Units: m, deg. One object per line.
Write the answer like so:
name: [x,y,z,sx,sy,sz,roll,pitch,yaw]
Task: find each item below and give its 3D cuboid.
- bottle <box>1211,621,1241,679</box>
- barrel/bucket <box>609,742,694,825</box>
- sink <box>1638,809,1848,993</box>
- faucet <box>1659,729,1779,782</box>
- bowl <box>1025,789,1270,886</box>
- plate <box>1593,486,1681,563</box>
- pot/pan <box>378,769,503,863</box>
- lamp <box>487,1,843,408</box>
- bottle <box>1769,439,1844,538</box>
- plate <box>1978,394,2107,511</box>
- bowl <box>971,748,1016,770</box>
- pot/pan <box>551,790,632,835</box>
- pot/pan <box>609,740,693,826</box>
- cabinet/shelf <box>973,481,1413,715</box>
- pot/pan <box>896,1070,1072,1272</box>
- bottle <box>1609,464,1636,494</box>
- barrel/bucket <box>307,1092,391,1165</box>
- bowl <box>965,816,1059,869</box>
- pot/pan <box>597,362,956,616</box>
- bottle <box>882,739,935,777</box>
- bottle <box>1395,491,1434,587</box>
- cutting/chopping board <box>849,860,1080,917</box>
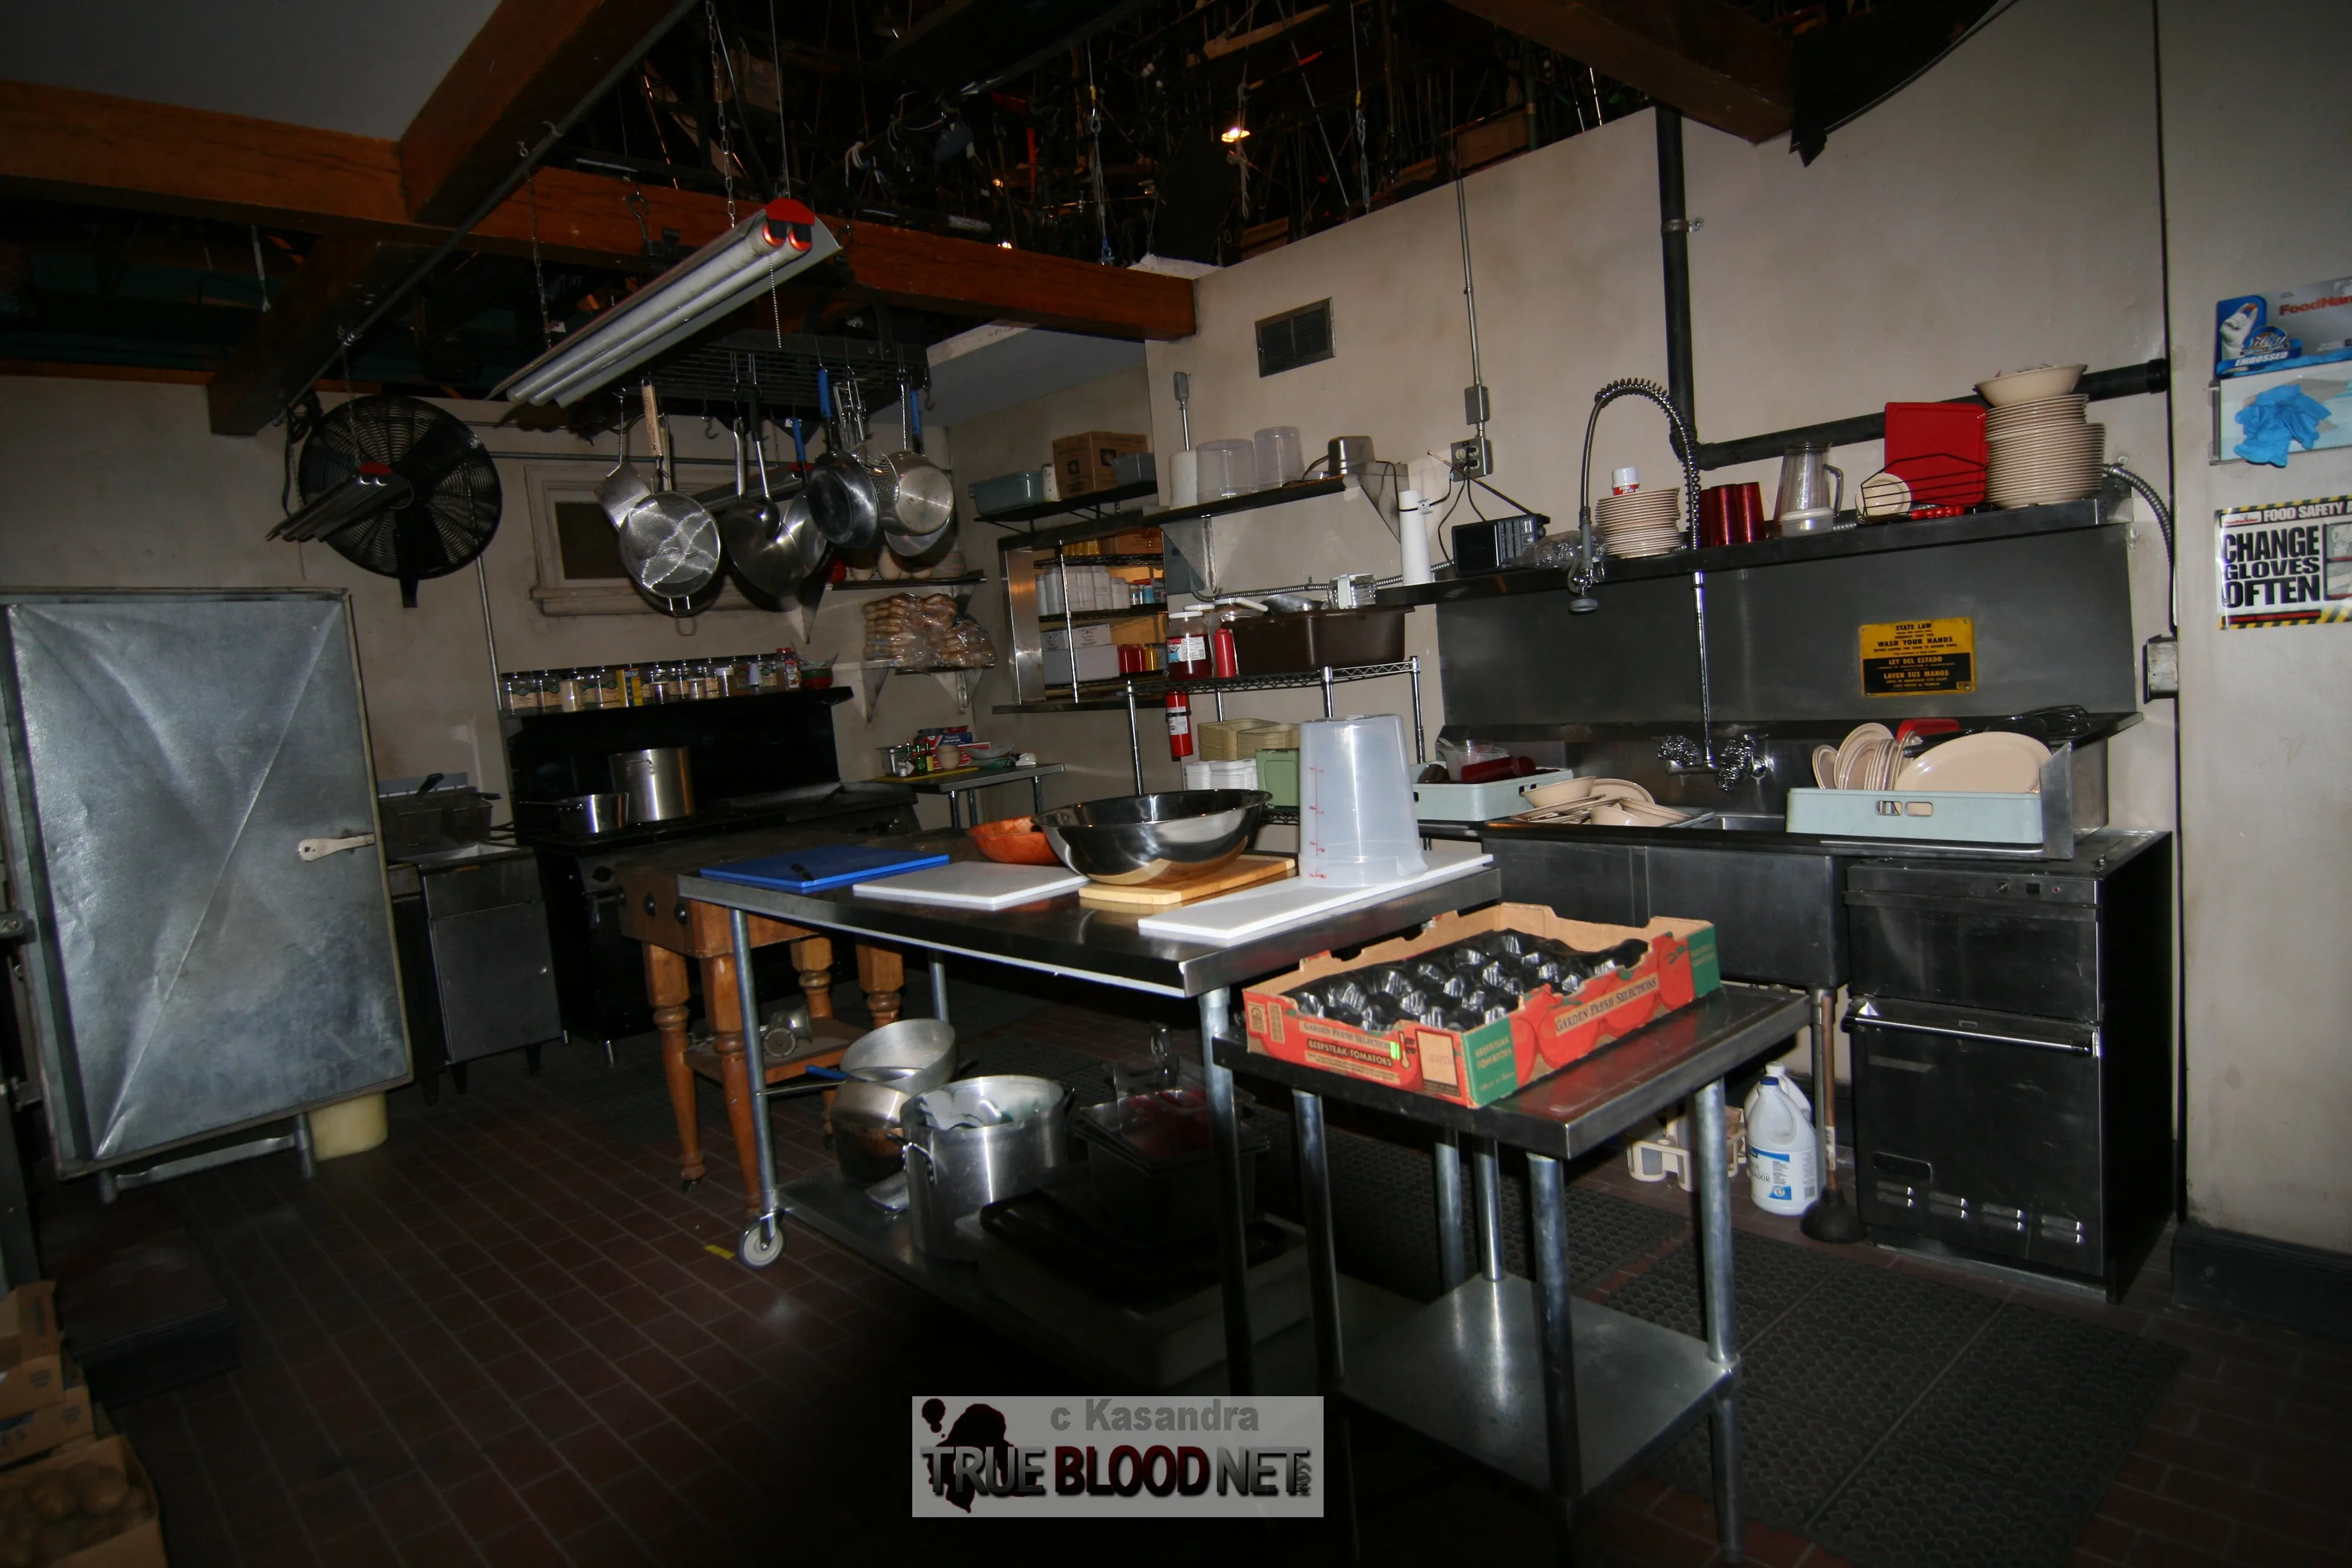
bottle: [0.196,-0.527,6.504,0.101,0.239,0.246,-5,6,-1]
barrel/bucket: [-2.379,0.002,7.259,0.349,0.362,0.326,-3,-5,0]
sink: [1.781,0.329,5.077,0.733,0.631,0.407,5,11,39]
faucet: [1.869,-0.083,5.508,0.382,0.165,0.352,-3,7,16]
bowl: [-0.051,0.130,4.234,0.355,0.115,0.345,-11,6,1]
plate: [1.598,-0.901,5.587,0.261,0.214,0.267,-16,17,-41]
pot/pan: [-3.318,0.128,7.158,0.432,0.307,0.922,-8,7,-25]
lamp: [-1.675,-1.507,4.912,2.014,0.227,0.502,-18,-2,44]
bottle: [2.129,-0.938,5.227,0.204,0.302,0.302,-4,7,-28]
plate: [2.594,-0.953,4.815,0.333,0.330,0.341,3,4,36]
bowl: [-0.926,-0.125,8.174,0.222,0.106,0.191,-6,6,-6]
pot/pan: [-2.595,0.129,7.117,0.295,0.105,0.167,-5,6,-42]
pot/pan: [-2.373,-0.009,7.307,0.338,0.365,0.342,-6,3,22]
cabinet/shelf: [0.032,-0.813,7.157,0.859,0.904,2.497,-9,7,-30]
pot/pan: [-0.594,1.149,4.882,0.403,0.377,0.543,5,9,43]
bottle: [1.551,-1.043,5.560,0.107,0.098,0.104,-15,15,-30]
barrel/bucket: [-3.258,1.361,6.365,0.238,0.264,0.243,-7,-1,0]
bowl: [-0.488,0.140,4.661,0.199,0.080,0.162,3,4,38]
pot/pan: [-1.391,-1.044,5.651,1.108,0.820,0.745,-5,6,2]
bottle: [-1.402,-0.119,8.294,0.299,0.162,0.221,-4,6,9]
bottle: [0.920,-0.944,6.169,0.124,0.375,0.483,-4,6,9]
cutting/chopping board: [-0.596,0.290,4.504,0.701,0.061,0.360,-1,8,34]
